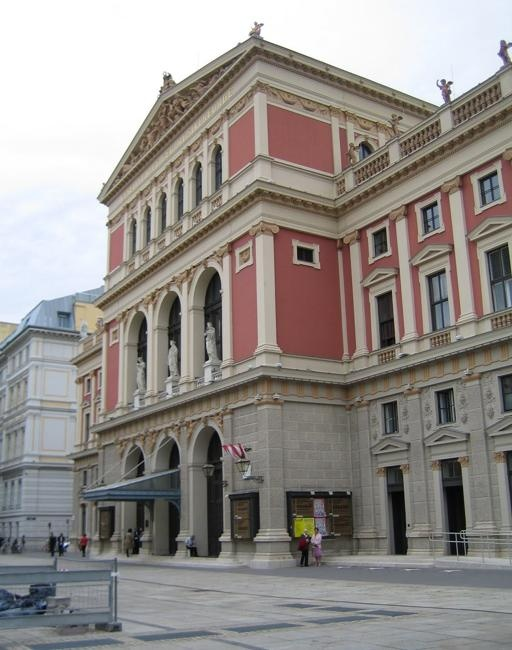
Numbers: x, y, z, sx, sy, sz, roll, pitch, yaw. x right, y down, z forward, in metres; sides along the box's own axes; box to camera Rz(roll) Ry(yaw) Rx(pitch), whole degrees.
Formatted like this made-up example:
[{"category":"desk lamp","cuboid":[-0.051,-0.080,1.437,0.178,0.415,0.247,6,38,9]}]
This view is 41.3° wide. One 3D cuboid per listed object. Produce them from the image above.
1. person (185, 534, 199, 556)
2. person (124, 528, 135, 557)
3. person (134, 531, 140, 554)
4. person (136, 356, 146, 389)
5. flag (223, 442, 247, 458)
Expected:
[{"category":"person","cuboid":[-3.150,10.765,33.155,0.470,1.034,0.983,-4,-17,6]},{"category":"person","cuboid":[-7.420,12.845,39.897,0.584,1.328,1.166,1,-18,-11]},{"category":"person","cuboid":[-6.973,12.693,39.806,0.406,1.371,1.307,1,-18,-10]},{"category":"person","cuboid":[-6.984,3.041,41.512,0.471,2.300,1.207,0,-18,-7]},{"category":"flag","cuboid":[-0.920,5.459,29.327,0.966,0.701,1.584,-2,-17,-2]}]
